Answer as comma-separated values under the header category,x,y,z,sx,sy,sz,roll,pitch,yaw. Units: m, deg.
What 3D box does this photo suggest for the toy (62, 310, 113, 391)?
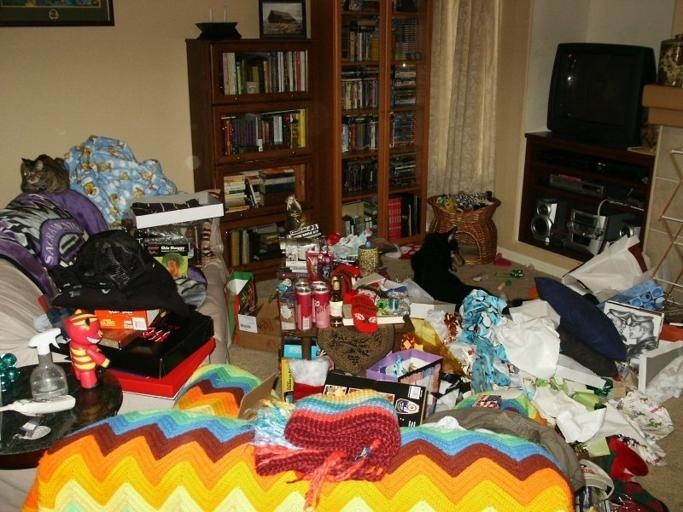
category,x,y,z,sx,sy,sz,roll,pitch,yaw
toy,-1.014,0.381,2.039,0.182,0.272,0.128,35,40,30

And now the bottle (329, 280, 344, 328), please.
category,x,y,z,sx,sy,sz,roll,pitch,yaw
bottle,-0.034,0.240,2.745,0.075,0.270,0.096,-4,15,-1

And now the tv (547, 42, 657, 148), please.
category,x,y,z,sx,sy,sz,roll,pitch,yaw
tv,2.152,-1.314,4.170,0.580,0.731,0.798,-13,25,-31

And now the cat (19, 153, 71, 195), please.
category,x,y,z,sx,sy,sz,roll,pitch,yaw
cat,-1.974,-0.542,3.352,0.230,0.176,0.339,-2,4,-2

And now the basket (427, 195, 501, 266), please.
category,x,y,z,sx,sy,sz,roll,pitch,yaw
basket,1.134,-0.248,4.905,0.683,0.536,0.648,0,22,11

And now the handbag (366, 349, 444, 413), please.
category,x,y,z,sx,sy,sz,roll,pitch,yaw
handbag,0.313,0.656,2.525,0.388,0.250,0.219,-17,29,-38

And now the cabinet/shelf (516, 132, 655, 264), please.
category,x,y,z,sx,sy,sz,roll,pitch,yaw
cabinet/shelf,2.090,-0.521,4.331,0.392,0.864,0.976,-18,30,-32

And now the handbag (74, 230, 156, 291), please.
category,x,y,z,sx,sy,sz,roll,pitch,yaw
handbag,-1.009,0.018,2.241,0.237,0.294,0.105,-19,49,3

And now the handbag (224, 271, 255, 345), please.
category,x,y,z,sx,sy,sz,roll,pitch,yaw
handbag,-0.719,0.378,3.539,0.139,0.377,0.420,7,25,8

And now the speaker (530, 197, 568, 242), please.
category,x,y,z,sx,sy,sz,roll,pitch,yaw
speaker,1.947,-0.339,4.777,0.304,0.407,0.267,-12,25,-18

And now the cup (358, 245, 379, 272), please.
category,x,y,z,sx,sy,sz,roll,pitch,yaw
cup,0.165,0.009,3.333,0.162,0.169,0.154,0,21,0
